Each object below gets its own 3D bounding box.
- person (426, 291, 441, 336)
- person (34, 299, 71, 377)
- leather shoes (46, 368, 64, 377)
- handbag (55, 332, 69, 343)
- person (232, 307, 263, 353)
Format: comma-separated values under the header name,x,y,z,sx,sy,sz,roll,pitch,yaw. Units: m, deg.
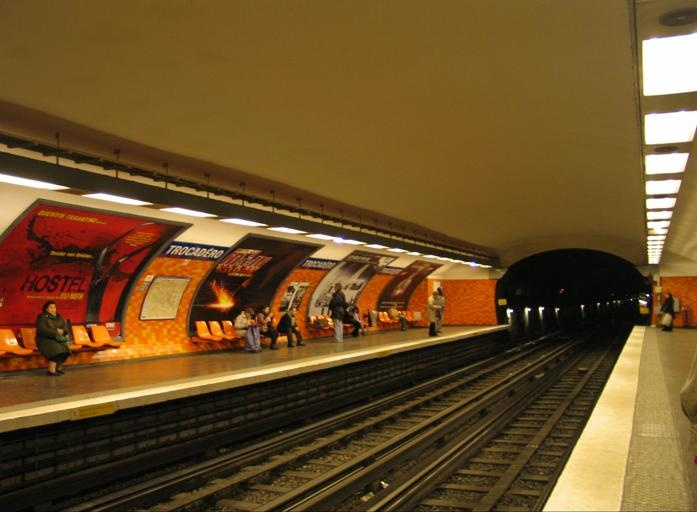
name,x,y,z,sx,sy,sz,roll,pitch,yaw
person,3.909,2.624,17.010,0.456,1.979,1.039,-9,-8,32
person,-6.083,1.695,7.598,0.537,1.535,0.650,-1,-8,-34
leather shoes,-6.232,2.445,7.810,0.319,0.066,0.176,-2,-2,19
handbag,-5.842,1.659,7.524,0.170,0.085,0.213,1,3,-42
person,-3.355,2.401,12.176,0.741,1.359,0.938,-2,-7,-24
